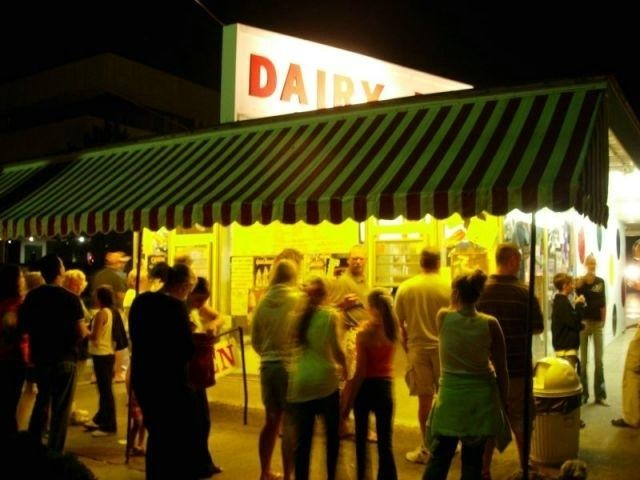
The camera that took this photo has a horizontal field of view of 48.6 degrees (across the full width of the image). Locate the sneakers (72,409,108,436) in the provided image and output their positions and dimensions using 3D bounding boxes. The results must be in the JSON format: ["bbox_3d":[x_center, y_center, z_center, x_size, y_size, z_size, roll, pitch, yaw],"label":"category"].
[{"bbox_3d":[-3.400,2.684,10.478,0.523,0.246,0.186,32,-4,6],"label":"sneakers"}]

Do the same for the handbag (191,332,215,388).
[{"bbox_3d":[-1.404,1.427,8.543,0.360,0.629,0.398,-1,0,2],"label":"handbag"}]

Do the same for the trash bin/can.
[{"bbox_3d":[3.002,2.165,9.081,0.770,1.316,0.817,-3,1,23],"label":"trash bin/can"}]
